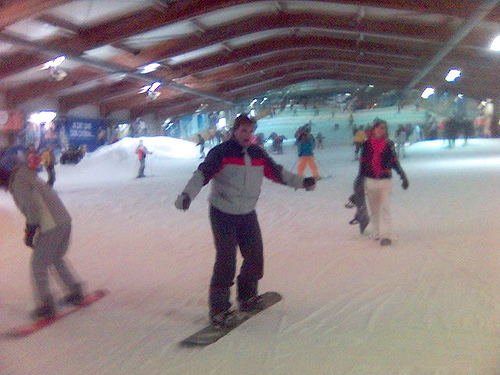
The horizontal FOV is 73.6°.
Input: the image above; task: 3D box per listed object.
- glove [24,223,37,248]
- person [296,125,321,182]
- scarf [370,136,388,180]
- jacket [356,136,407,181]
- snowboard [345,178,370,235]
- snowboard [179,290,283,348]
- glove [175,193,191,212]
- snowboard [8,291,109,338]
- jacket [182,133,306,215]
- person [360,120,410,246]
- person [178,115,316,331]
[{"bbox_3d":[-2.712,0.595,4.127,0.093,0.251,0.200,17,7,28],"label":"glove"},{"bbox_3d":[1.950,-1.234,11.803,0.985,2.085,0.730,-10,35,-1],"label":"person"},{"bbox_3d":[2.248,-0.516,5.853,0.278,0.729,0.214,-1,10,23],"label":"scarf"},{"bbox_3d":[2.313,-0.538,5.919,0.914,0.813,0.337,2,9,35],"label":"jacket"},{"bbox_3d":[2.107,0.395,6.554,0.600,1.113,0.189,-12,26,-2],"label":"snowboard"},{"bbox_3d":[-0.169,1.413,3.747,0.373,0.069,1.429,1,7,30],"label":"snowboard"},{"bbox_3d":[-0.634,0.151,3.234,0.130,0.185,0.205,-5,9,4],"label":"glove"},{"bbox_3d":[-2.484,1.638,4.374,0.308,0.141,1.066,13,9,23],"label":"snowboard"},{"bbox_3d":[-0.123,-0.136,3.642,1.340,0.899,0.305,-10,10,-29],"label":"jacket"},{"bbox_3d":[2.353,-0.081,5.945,0.753,2.201,0.466,-1,10,24],"label":"person"},{"bbox_3d":[-0.156,0.383,3.664,1.268,2.284,0.377,-12,12,-37],"label":"person"}]
